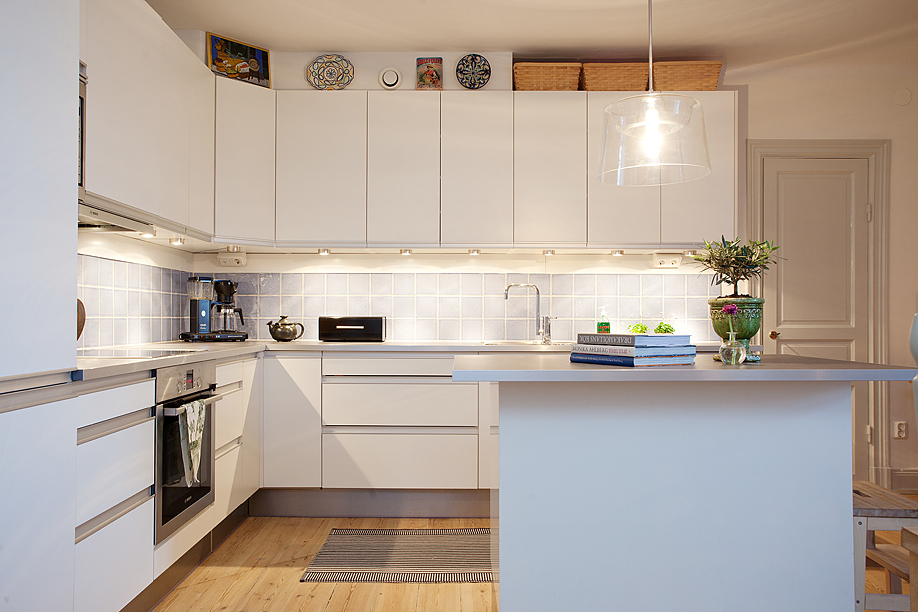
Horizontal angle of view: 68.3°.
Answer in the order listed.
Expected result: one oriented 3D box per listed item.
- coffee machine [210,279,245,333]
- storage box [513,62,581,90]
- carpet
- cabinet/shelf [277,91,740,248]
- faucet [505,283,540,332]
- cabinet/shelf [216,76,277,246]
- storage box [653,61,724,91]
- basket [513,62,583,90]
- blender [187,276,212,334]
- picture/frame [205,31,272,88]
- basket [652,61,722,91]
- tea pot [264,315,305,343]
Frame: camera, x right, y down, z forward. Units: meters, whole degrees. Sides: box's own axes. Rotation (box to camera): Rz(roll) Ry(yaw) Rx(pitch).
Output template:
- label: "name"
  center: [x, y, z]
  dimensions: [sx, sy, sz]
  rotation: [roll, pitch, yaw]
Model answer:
- label: "coffee machine"
  center: [-1.678, -0.004, 4.930]
  dimensions: [0.214, 0.392, 0.242]
  rotation: [-6, 13, -18]
- label: "storage box"
  center: [0.603, -1.603, 4.724]
  dimensions: [0.351, 0.122, 0.235]
  rotation: [0, 4, 2]
- label: "carpet"
  center: [-0.342, 1.463, 4.026]
  dimensions: [1.073, 0.053, 0.634]
  rotation: [-1, 11, 0]
- label: "cabinet/shelf"
  center: [0.243, -0.956, 4.694]
  dimensions: [3.015, 1.093, 0.346]
  rotation: [-1, 13, 2]
- label: "faucet"
  center: [0.470, 0.015, 5.004]
  dimensions: [0.284, 0.360, 0.209]
  rotation: [-1, 13, 4]
- label: "cabinet/shelf"
  center: [-1.545, -0.892, 4.724]
  dimensions: [0.528, 1.072, 0.456]
  rotation: [0, 27, -19]
- label: "storage box"
  center: [1.579, -1.605, 4.710]
  dimensions: [0.346, 0.114, 0.258]
  rotation: [1, 1, 3]
- label: "basket"
  center: [0.602, -1.607, 4.723]
  dimensions: [0.354, 0.125, 0.236]
  rotation: [0, 4, 2]
- label: "blender"
  center: [-1.827, -0.008, 4.786]
  dimensions: [0.193, 0.376, 0.385]
  rotation: [-6, 13, -19]
- label: "picture/frame"
  center: [-1.510, -1.674, 4.569]
  dimensions: [0.478, 0.293, 0.032]
  rotation: [8, -11, -33]
- label: "basket"
  center: [1.576, -1.607, 4.710]
  dimensions: [0.346, 0.108, 0.260]
  rotation: [1, 2, 2]
- label: "tea pot"
  center: [-1.225, 0.154, 4.818]
  dimensions: [0.267, 0.160, 0.169]
  rotation: [2, -4, 0]
